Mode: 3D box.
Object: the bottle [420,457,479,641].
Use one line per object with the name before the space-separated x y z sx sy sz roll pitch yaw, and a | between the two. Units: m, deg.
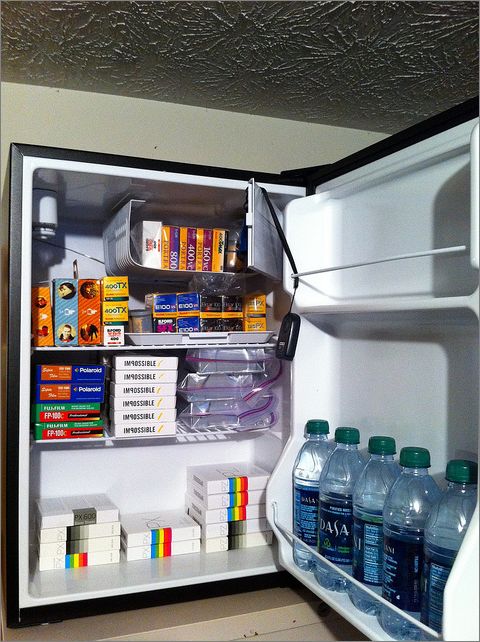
bottle | 0.277 0.327 0.724 0.071 0.198 0.115 -1 2 37
